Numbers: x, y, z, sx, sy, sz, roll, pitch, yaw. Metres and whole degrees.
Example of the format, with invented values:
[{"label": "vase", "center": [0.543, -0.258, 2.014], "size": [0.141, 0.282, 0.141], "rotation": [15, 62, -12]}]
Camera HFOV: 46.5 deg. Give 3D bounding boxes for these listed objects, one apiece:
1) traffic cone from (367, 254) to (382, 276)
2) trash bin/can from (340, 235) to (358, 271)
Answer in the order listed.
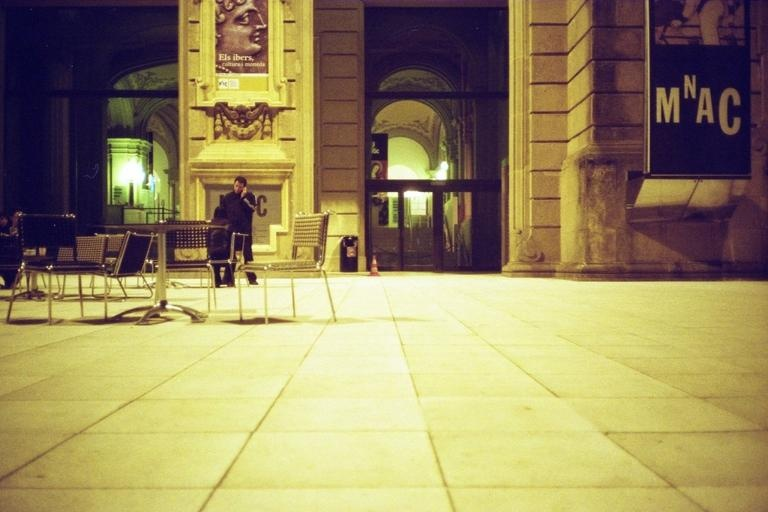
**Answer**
[{"label": "traffic cone", "center": [-0.153, 0.295, 23.646], "size": [0.422, 0.583, 0.441], "rotation": [0, -3, -1]}, {"label": "trash bin/can", "center": [-0.911, -0.059, 24.084], "size": [0.486, 1.044, 0.591], "rotation": [0, 15, -2]}]
